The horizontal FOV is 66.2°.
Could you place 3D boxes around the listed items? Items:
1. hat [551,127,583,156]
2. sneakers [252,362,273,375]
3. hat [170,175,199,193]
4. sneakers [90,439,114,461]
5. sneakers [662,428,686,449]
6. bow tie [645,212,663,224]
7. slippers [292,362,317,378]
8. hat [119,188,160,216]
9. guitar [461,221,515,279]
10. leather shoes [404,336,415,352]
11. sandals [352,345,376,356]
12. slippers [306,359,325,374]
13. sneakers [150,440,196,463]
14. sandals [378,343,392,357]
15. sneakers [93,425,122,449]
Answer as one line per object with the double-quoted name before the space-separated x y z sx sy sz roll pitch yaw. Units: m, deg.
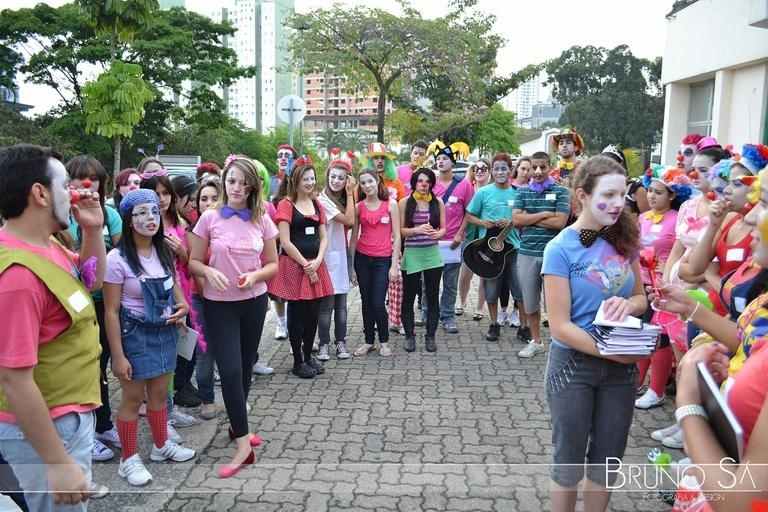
"hat" 2.608 -1.676 8.378 0.302 0.273 0.422 -1 -33 32
"sneakers" -1.386 1.318 6.928 0.273 0.108 0.132 0 10 5
"hat" -2.096 -0.741 6.236 0.224 0.172 0.215 -11 -11 17
"sneakers" -2.457 1.677 5.171 0.175 0.136 0.281 -5 13 -24
"sneakers" 2.553 1.615 5.225 0.157 0.152 0.255 5 13 25
"bow tie" 2.853 -0.405 6.225 0.127 0.044 0.126 18 15 13
"slippers" -0.904 1.316 6.807 0.240 0.093 0.142 -1 6 43
"hat" -2.030 -0.432 4.893 0.260 0.132 0.225 -18 -14 8
"guitar" 1.468 -0.103 8.132 0.391 0.887 0.116 37 12 -11
"leather shoes" 0.343 1.155 7.740 0.156 0.173 0.419 0 -6 3
"sandals" -0.253 1.220 7.627 0.258 0.105 0.108 3 -6 -36
"slippers" -0.796 1.290 6.939 0.244 0.105 0.114 4 6 39
"sneakers" -1.811 1.693 5.147 0.409 0.170 0.157 1 1 -7
"sandals" 0.012 1.212 7.568 0.135 0.140 0.358 -2 -5 -1
"sneakers" -2.526 1.633 5.369 0.363 0.138 0.129 6 7 17
